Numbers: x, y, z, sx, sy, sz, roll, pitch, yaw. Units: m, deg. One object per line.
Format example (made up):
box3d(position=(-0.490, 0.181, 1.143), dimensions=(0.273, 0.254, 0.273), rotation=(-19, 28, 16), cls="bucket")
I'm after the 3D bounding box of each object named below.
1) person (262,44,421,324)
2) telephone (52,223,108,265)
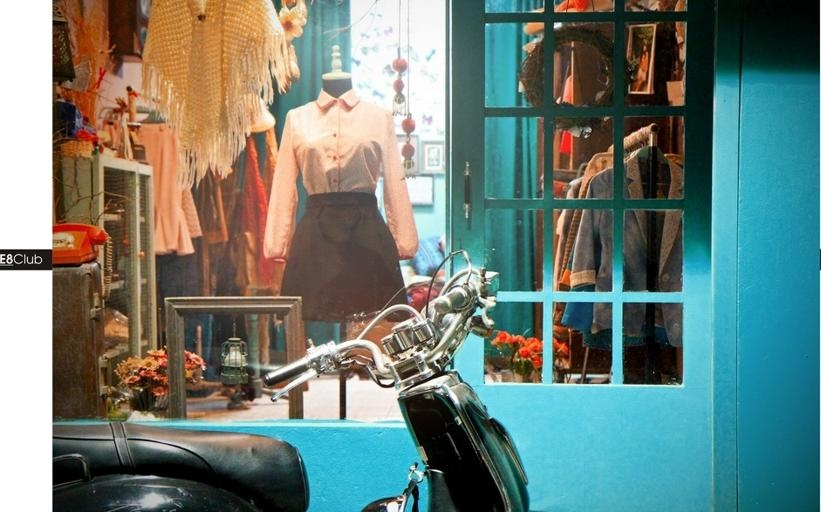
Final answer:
box3d(position=(-0.341, -0.382, 4.738), dimensions=(0.773, 1.303, 0.440), rotation=(3, 8, -2), cls="person")
box3d(position=(-1.626, -0.055, 4.503), dimensions=(0.246, 0.189, 0.154), rotation=(0, 10, -10), cls="telephone")
